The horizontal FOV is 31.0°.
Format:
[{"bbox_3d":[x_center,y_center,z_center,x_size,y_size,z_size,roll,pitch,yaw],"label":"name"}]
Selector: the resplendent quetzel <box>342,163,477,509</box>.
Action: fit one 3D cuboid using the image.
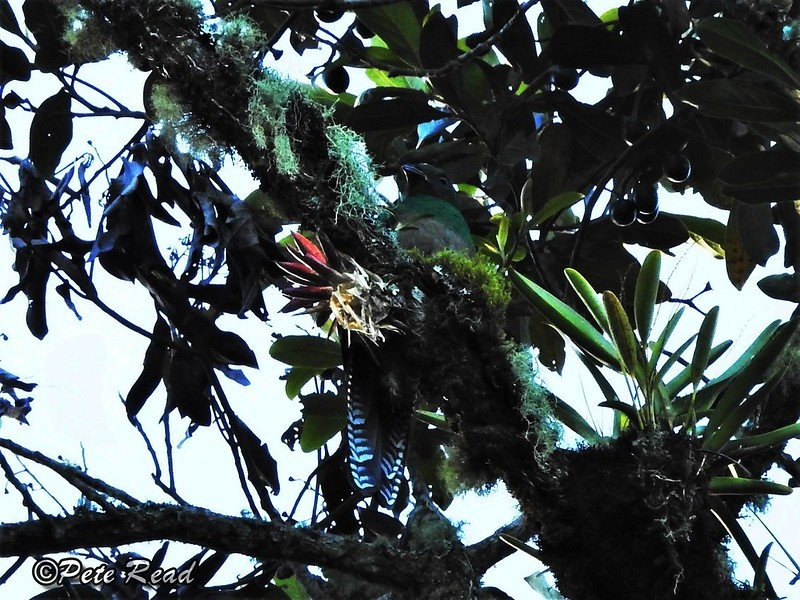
[{"bbox_3d":[-0.043,0.033,3.180,0.228,0.897,0.331,-3,-10,41],"label":"resplendent quetzel"}]
